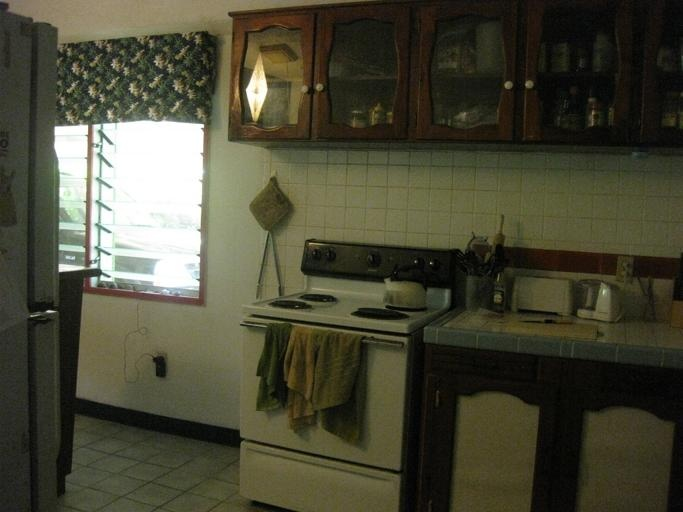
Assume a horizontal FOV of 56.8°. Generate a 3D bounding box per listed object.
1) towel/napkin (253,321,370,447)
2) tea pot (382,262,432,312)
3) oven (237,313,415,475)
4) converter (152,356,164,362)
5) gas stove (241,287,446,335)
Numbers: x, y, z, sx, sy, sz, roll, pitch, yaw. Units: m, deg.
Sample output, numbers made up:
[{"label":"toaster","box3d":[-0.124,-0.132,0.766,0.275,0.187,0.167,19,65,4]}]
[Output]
[{"label":"towel/napkin","box3d":[-0.117,0.592,2.946,0.565,0.510,0.116,7,10,23]},{"label":"tea pot","box3d":[0.306,0.159,3.244,0.210,0.232,0.210,8,8,-1]},{"label":"oven","box3d":[0.004,0.581,3.182,0.784,0.716,0.714,3,3,23]},{"label":"converter","box3d":[-1.153,0.658,3.973,0.043,0.059,0.053,0,4,17]},{"label":"gas stove","box3d":[0.068,0.188,3.251,0.857,0.193,0.803,4,9,26]}]
